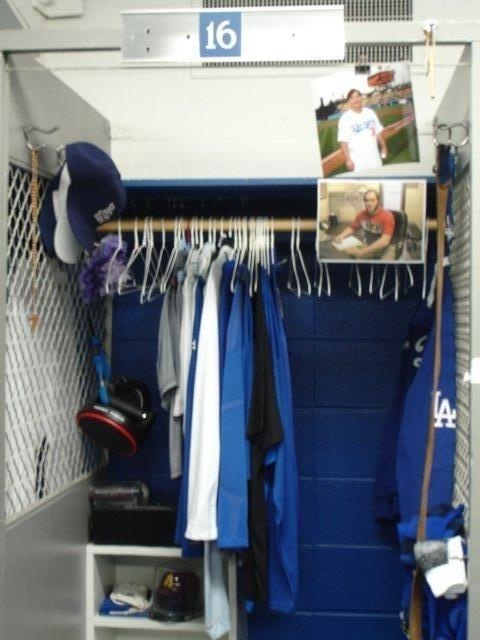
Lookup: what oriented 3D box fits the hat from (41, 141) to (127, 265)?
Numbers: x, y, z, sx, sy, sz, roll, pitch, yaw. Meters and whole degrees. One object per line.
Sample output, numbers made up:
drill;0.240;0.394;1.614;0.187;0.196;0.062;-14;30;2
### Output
hat;-0.453;-0.346;2.321;0.127;0.459;0.210;6;11;6
